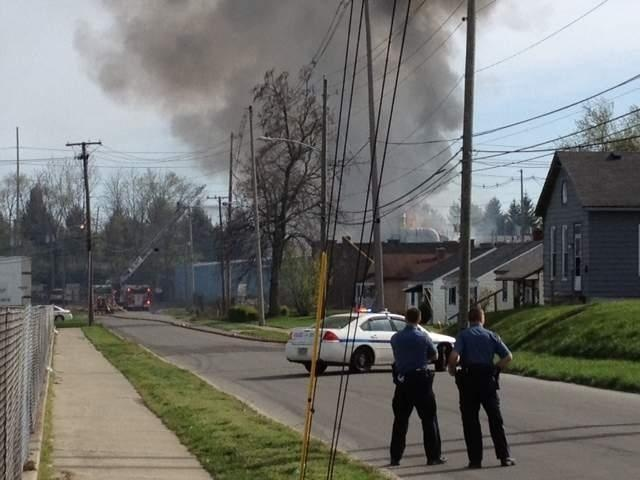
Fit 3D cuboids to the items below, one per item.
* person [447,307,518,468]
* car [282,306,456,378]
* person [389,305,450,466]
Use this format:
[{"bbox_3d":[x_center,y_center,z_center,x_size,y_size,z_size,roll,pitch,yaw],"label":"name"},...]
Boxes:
[{"bbox_3d":[2.903,2.561,15.299,1.042,2.698,0.868,-1,-1,7],"label":"person"},{"bbox_3d":[1.299,2.997,24.986,4.607,1.659,2.269,-2,0,-27],"label":"car"},{"bbox_3d":[1.718,2.587,15.368,0.982,2.765,0.762,-2,-5,5],"label":"person"}]
